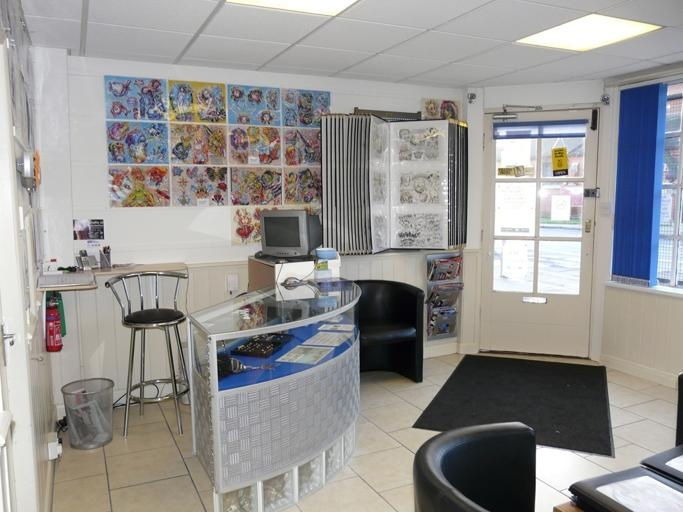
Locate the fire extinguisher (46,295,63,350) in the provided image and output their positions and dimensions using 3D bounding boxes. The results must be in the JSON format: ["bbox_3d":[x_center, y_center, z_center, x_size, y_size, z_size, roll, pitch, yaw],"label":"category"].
[{"bbox_3d":[-2.347,0.563,3.926,0.130,0.467,0.298,-6,12,-32],"label":"fire extinguisher"}]

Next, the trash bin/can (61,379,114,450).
[{"bbox_3d":[-2.097,1.346,4.083,0.453,0.512,0.437,-16,-13,22],"label":"trash bin/can"}]

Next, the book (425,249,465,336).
[{"bbox_3d":[1.245,0.488,5.844,0.467,1.057,0.067,-3,11,-18],"label":"book"}]

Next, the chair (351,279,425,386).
[{"bbox_3d":[0.515,0.822,5.107,0.680,1.017,0.608,0,10,0],"label":"chair"}]

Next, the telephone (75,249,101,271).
[{"bbox_3d":[-2.329,0.043,4.433,0.189,0.173,0.195,-5,11,-27],"label":"telephone"}]

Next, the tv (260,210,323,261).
[{"bbox_3d":[-0.449,-0.220,4.584,0.589,0.424,0.599,5,9,42],"label":"tv"}]

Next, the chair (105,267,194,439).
[{"bbox_3d":[-1.665,0.799,4.300,0.690,1.351,0.858,-5,11,-24],"label":"chair"}]
